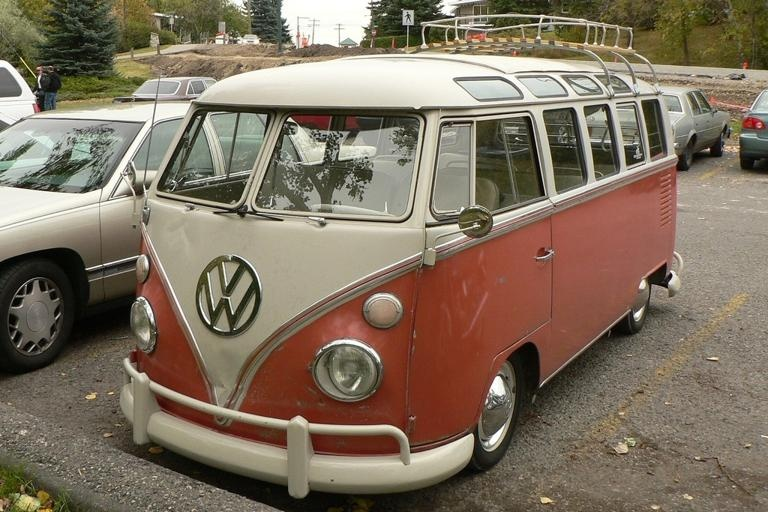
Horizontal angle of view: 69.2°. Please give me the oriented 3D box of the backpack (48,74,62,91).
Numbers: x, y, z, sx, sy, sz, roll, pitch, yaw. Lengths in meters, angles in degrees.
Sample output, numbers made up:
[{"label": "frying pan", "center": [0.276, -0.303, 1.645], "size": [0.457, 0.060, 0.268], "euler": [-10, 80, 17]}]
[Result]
[{"label": "backpack", "center": [-13.766, -7.309, 23.339], "size": [0.385, 0.718, 0.737], "euler": [-1, 19, -3]}]

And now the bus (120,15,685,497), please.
[{"label": "bus", "center": [0.326, -0.626, 5.378], "size": [2.862, 3.172, 5.319], "euler": [9, 16, 42]}]
